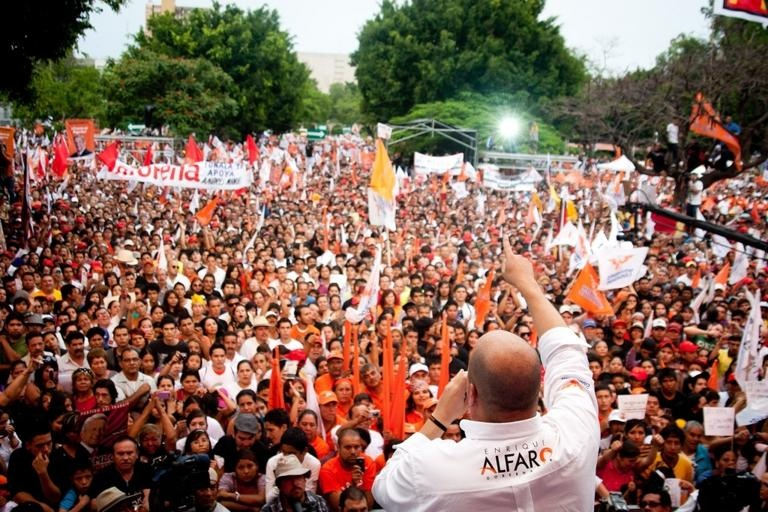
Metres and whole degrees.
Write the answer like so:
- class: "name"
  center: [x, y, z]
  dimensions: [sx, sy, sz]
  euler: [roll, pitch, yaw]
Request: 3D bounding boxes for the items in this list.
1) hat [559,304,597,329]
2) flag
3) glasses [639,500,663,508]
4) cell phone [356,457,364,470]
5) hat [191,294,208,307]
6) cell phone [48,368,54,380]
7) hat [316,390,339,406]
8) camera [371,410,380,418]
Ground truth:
- class: "hat"
  center: [3.585, 1.128, 14.966]
  dimensions: [0.394, 0.229, 0.743]
  euler: [-14, 60, -29]
- class: "flag"
  center: [8.731, -3.307, 21.312]
  dimensions: [1.673, 1.887, 0.751]
  euler: [19, 25, 30]
- class: "glasses"
  center: [3.994, 3.753, 12.142]
  dimensions: [0.281, 0.112, 0.048]
  euler: [0, 9, 14]
- class: "cell phone"
  center: [-0.370, 3.237, 12.492]
  dimensions: [0.168, 0.209, 0.109]
  euler: [-10, 12, -43]
- class: "hat"
  center: [-3.736, 0.864, 16.063]
  dimensions: [0.228, 0.278, 0.298]
  euler: [3, 8, -11]
- class: "cell phone"
  center: [-5.631, 1.984, 13.572]
  dimensions: [0.113, 0.184, 0.067]
  euler: [-6, 10, -28]
- class: "hat"
  center: [-0.971, 2.386, 13.533]
  dimensions: [0.377, 0.221, 0.238]
  euler: [-5, 9, -20]
- class: "camera"
  center: [-0.175, 2.580, 13.174]
  dimensions: [0.106, 0.079, 0.108]
  euler: [-6, -7, 40]
